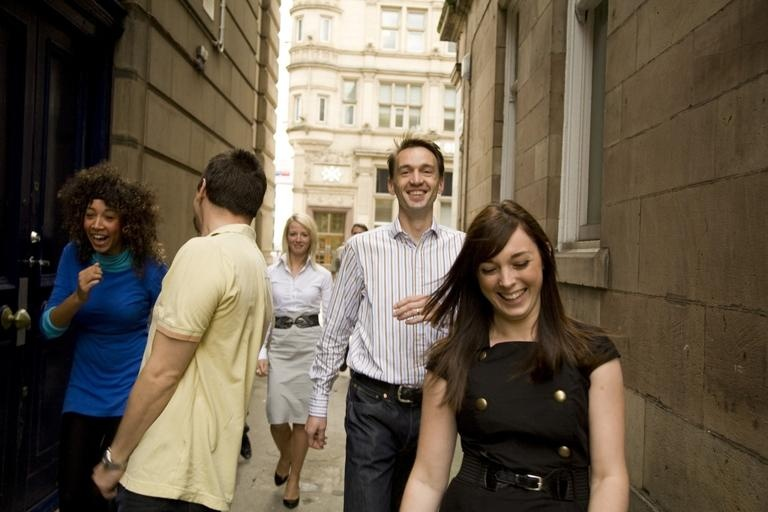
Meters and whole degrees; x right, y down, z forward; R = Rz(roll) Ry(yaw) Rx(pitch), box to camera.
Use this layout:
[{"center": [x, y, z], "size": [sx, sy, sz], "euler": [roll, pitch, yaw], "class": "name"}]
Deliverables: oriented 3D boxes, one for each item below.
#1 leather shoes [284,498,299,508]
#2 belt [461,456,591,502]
[{"center": [-0.805, 2.164, 5.381], "size": [0.130, 0.089, 0.096], "euler": [5, -1, -13], "class": "leather shoes"}, {"center": [0.688, 1.092, 3.020], "size": [0.622, 0.195, 0.090], "euler": [5, 0, 12], "class": "belt"}]
